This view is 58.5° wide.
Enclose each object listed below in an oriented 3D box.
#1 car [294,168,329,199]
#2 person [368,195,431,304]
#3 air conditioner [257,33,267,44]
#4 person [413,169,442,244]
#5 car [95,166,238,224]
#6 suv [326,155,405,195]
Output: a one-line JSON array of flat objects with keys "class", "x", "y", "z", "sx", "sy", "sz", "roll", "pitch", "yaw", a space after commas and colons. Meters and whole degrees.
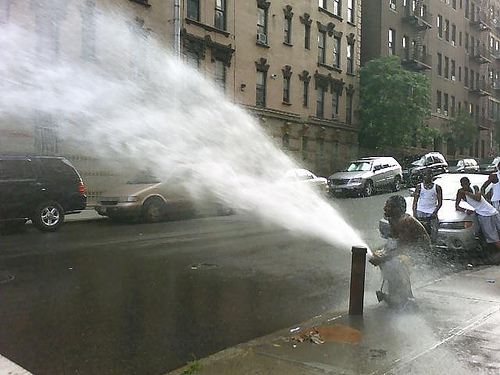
[{"class": "car", "x": 2.874, "y": -0.307, "z": 20.436, "sx": 2.192, "sy": 0.778, "sz": 0.939, "roll": 24, "pitch": -4, "yaw": -34}, {"class": "person", "x": 2.352, "y": 0.991, "z": 6.977, "sx": 0.891, "sy": 1.655, "sz": 0.568, "roll": -2, "pitch": 6, "yaw": -19}, {"class": "air conditioner", "x": 0.745, "y": -9.139, "z": 27.551, "sx": 0.316, "sy": 0.769, "sz": 0.855, "roll": 3, "pitch": 7, "yaw": 27}, {"class": "person", "x": 4.076, "y": 0.599, "z": 10.313, "sx": 0.559, "sy": 2.049, "sz": 0.545, "roll": -1, "pitch": 27, "yaw": 18}, {"class": "car", "x": -3.124, "y": 0.494, "z": 15.796, "sx": 3.892, "sy": 1.675, "sz": 1.763, "roll": 5, "pitch": -5, "yaw": -39}, {"class": "suv", "x": 6.262, "y": -0.543, "z": 24.279, "sx": 1.917, "sy": 1.735, "sz": 4.312, "roll": -1, "pitch": 0, "yaw": 42}]
